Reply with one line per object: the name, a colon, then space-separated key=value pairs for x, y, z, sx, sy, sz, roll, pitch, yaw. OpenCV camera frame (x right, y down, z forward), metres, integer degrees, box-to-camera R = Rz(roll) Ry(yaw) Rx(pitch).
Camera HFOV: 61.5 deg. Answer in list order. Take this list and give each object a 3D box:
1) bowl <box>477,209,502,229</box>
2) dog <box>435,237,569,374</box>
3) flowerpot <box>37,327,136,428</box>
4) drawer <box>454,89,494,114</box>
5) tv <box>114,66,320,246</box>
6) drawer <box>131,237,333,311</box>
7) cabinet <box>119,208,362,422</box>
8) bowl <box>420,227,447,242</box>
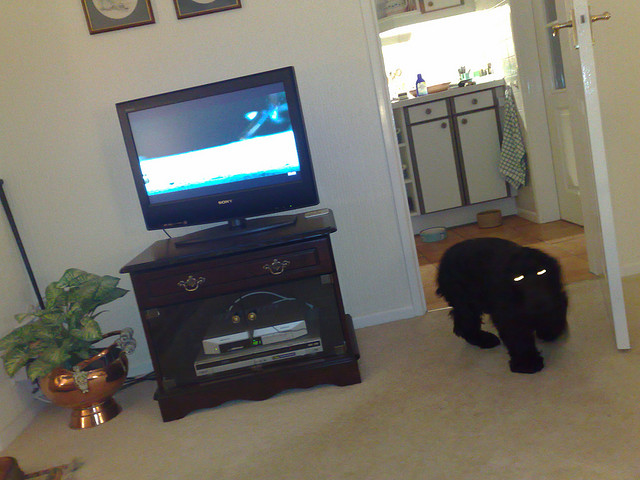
bowl: x=1.466 y=-0.189 z=4.651 sx=0.191 sy=0.129 sz=0.206 roll=-11 pitch=18 yaw=3
dog: x=0.916 y=0.275 z=2.634 sx=0.436 sy=0.513 sz=0.667 roll=-22 pitch=20 yaw=-28
flowerpot: x=-1.182 y=0.734 z=2.869 sx=0.544 sy=0.393 sz=0.513 roll=-9 pitch=1 yaw=31
drawer: x=1.295 y=-1.164 z=4.530 sx=0.312 sy=0.138 sz=0.030 roll=-11 pitch=19 yaw=3
tv: x=-0.508 y=-0.452 z=2.734 sx=0.885 sy=0.676 sz=0.279 roll=-15 pitch=12 yaw=5
drawer: x=-0.414 y=0.162 z=2.593 sx=0.945 sy=0.174 sz=0.033 roll=-11 pitch=19 yaw=0
cabinet: x=-0.325 y=0.399 z=2.899 sx=1.054 sy=0.806 sz=0.623 roll=-13 pitch=2 yaw=8
bowl: x=0.969 y=-0.049 z=4.578 sx=0.219 sy=0.095 sz=0.152 roll=-14 pitch=18 yaw=-9
